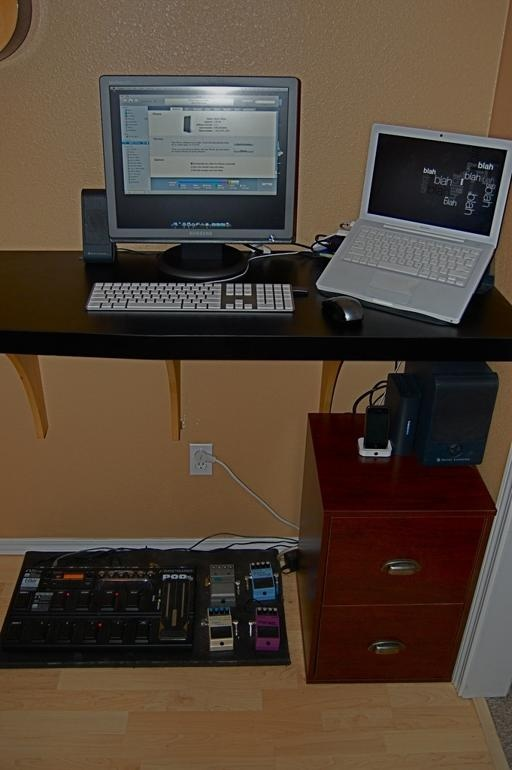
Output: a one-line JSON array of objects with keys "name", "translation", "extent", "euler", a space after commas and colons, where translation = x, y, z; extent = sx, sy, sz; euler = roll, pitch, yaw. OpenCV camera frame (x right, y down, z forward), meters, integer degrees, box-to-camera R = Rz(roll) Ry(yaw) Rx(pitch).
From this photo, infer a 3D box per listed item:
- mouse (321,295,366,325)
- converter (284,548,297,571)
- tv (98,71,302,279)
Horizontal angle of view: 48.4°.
[{"name": "mouse", "translation": [0.162, -0.140, 1.068], "extent": [0.061, 0.040, 0.085], "euler": [-4, 26, -15]}, {"name": "converter", "translation": [0.114, 0.547, 1.798], "extent": [0.046, 0.068, 0.025], "euler": [-11, -25, 37]}, {"name": "tv", "translation": [-0.122, -0.450, 1.194], "extent": [0.408, 0.428, 0.186], "euler": [1, 40, -3]}]
